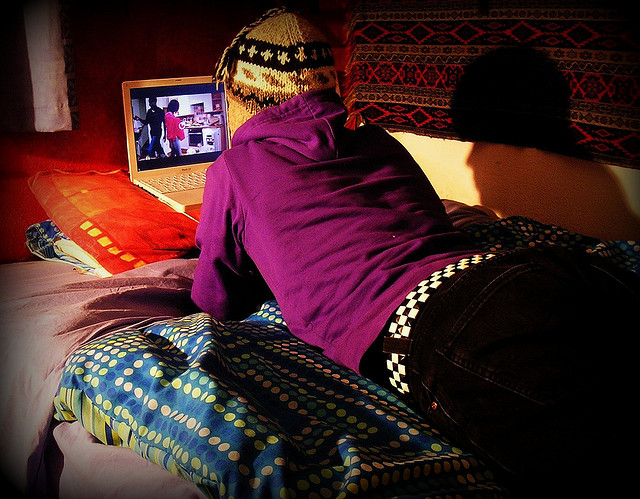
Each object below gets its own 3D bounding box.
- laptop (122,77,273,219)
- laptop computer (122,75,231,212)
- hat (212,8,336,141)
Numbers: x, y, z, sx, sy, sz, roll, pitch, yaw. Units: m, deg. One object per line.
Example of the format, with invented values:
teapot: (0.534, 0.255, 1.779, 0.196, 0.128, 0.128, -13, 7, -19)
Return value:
laptop: (-0.408, -0.396, 1.724, 0.565, 0.345, 0.599, 5, 25, -6)
laptop computer: (-0.530, -0.374, 1.678, 0.419, 0.317, 0.347, -17, 34, -41)
hat: (-0.097, -0.504, 1.426, 0.373, 0.353, 0.288, -3, 14, 5)
